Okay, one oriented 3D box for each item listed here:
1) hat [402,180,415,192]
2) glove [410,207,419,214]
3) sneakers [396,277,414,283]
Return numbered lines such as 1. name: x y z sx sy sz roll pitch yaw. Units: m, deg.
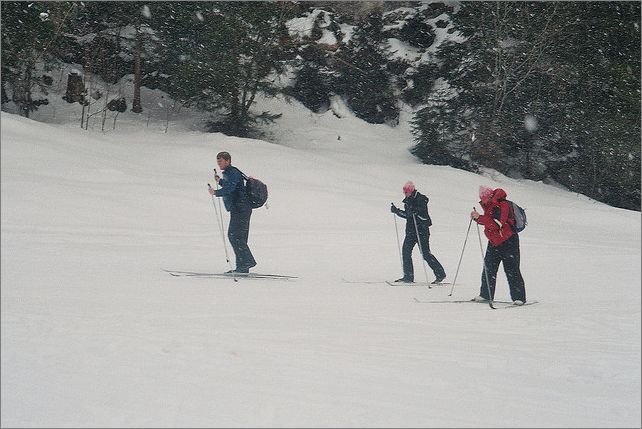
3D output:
1. hat: 3.237 -1.008 35.057 0.494 0.359 0.355 -7 12 -19
2. glove: 3.334 -0.127 34.710 0.265 0.210 0.063 6 1 25
3. sneakers: 3.052 2.321 34.882 0.664 0.239 0.210 3 -3 12
